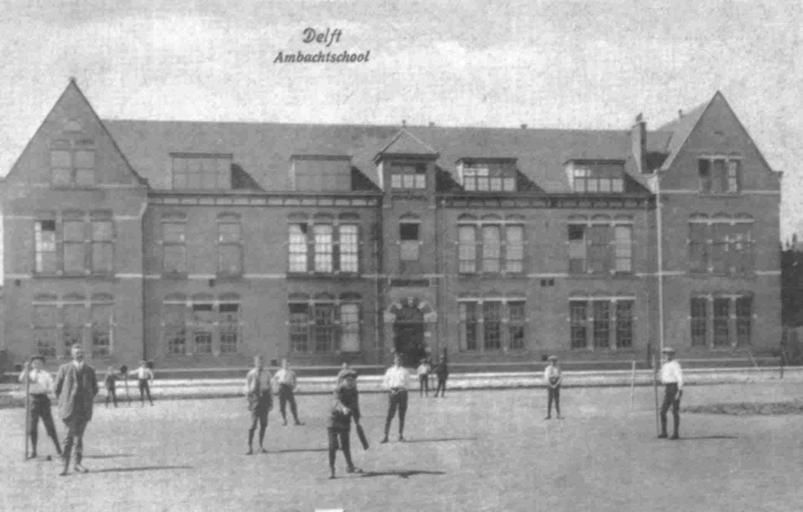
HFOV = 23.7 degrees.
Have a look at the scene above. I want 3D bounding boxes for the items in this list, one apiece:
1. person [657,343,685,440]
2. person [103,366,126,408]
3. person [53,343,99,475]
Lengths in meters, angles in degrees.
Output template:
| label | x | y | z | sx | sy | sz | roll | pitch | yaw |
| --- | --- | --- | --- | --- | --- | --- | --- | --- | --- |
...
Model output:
| label | x | y | z | sx | sy | sz | roll | pitch | yaw |
| --- | --- | --- | --- | --- | --- | --- | --- | --- | --- |
| person | 8.650 | 4.444 | 61.304 | 0.984 | 2.879 | 0.777 | -2 | -1 | -2 |
| person | -9.840 | 4.496 | 65.357 | 0.721 | 1.328 | 2.088 | -1 | -6 | -8 |
| person | -10.118 | 4.794 | 59.156 | 1.242 | 4.004 | 0.695 | -2 | -6 | -1 |
